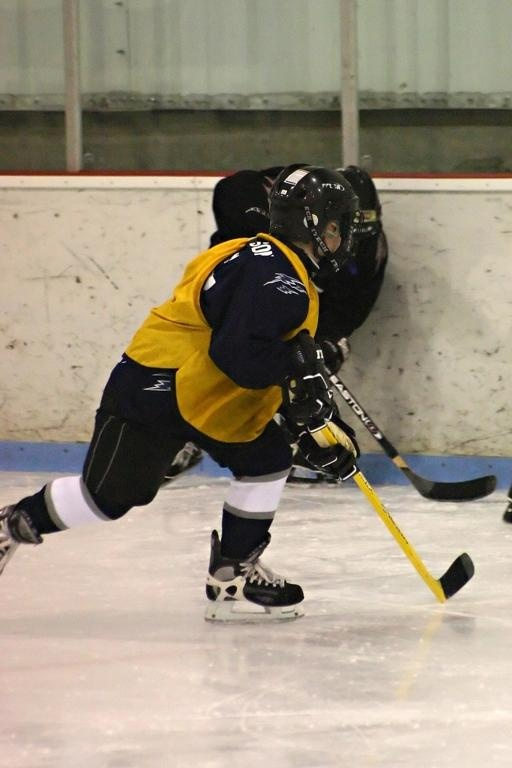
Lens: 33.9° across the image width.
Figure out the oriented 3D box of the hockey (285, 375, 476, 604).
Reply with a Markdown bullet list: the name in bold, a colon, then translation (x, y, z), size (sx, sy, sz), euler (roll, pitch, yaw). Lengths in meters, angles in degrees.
- **hockey**: translation (0.324, 0.323, 2.101), size (0.201, 0.092, 0.552), euler (-24, 35, -5)

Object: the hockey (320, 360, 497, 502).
- **hockey**: translation (0.552, 0.164, 2.850), size (0.124, 0.095, 0.860), euler (19, 15, -38)

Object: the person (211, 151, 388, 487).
- **person**: translation (0.183, -0.405, 2.959), size (0.312, 0.711, 0.611), euler (7, 4, 28)

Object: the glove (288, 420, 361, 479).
- **glove**: translation (0.161, 0.143, 1.912), size (0.147, 0.074, 0.187), euler (21, -26, -1)

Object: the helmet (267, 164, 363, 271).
- **helmet**: translation (0.120, -0.350, 1.742), size (0.241, 0.201, 0.188), euler (-7, 19, -44)
